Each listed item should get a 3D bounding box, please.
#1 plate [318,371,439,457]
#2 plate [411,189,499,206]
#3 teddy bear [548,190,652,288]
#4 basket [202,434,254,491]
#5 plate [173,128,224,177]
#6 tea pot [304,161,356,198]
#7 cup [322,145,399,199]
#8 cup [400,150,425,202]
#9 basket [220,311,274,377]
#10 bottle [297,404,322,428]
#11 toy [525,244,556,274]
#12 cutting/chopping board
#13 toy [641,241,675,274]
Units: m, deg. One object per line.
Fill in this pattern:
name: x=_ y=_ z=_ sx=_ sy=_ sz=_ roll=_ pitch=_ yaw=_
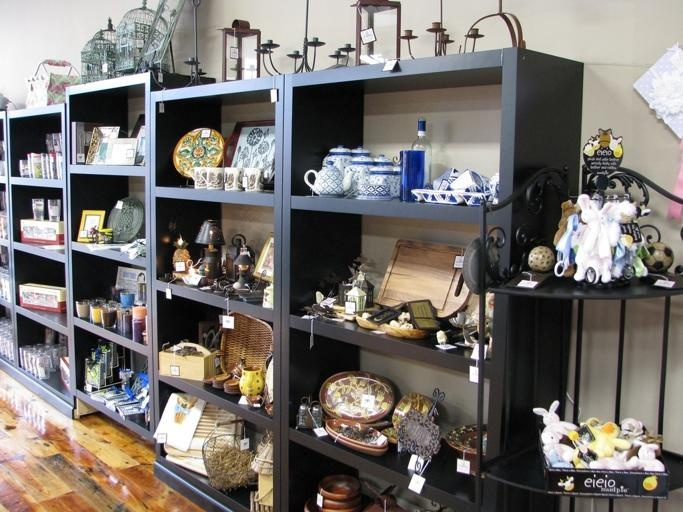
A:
plate: x=0.136 y=0.703 z=2.597 sx=0.416 sy=0.264 sz=0.457 roll=1 pitch=5 yaw=-33
plate: x=0.405 y=-0.229 z=2.171 sx=0.100 sy=0.059 sz=0.330 roll=-1 pitch=6 yaw=-44
teddy bear: x=0.897 y=-0.055 z=1.891 sx=0.317 sy=0.294 sz=0.234 roll=4 pitch=4 yaw=15
basket: x=-0.611 y=1.073 z=2.929 sx=0.292 sy=0.152 sz=0.310 roll=18 pitch=6 yaw=32
plate: x=-0.802 y=-0.586 z=3.129 sx=0.266 sy=0.290 sz=0.056 roll=2 pitch=-7 yaw=20
tea pot: x=-0.053 y=-0.337 z=2.475 sx=0.224 sy=0.151 sz=0.153 roll=1 pitch=8 yaw=13
cup: x=0.079 y=-0.368 z=2.396 sx=0.316 sy=0.142 sz=0.186 roll=14 pitch=18 yaw=41
cup: x=0.294 y=-0.332 z=2.289 sx=0.107 sy=0.212 sz=0.086 roll=3 pitch=4 yaw=8
basket: x=-0.551 y=0.531 z=3.169 sx=0.304 sy=0.081 sz=0.419 roll=13 pitch=45 yaw=-10
bottle: x=-0.148 y=0.746 z=2.644 sx=0.124 sy=0.126 sz=0.092 roll=0 pitch=-4 yaw=2
toy: x=0.707 y=0.012 z=2.006 sx=0.081 sy=0.097 sz=0.100 roll=19 pitch=-8 yaw=-19
cutting/chopping board: x=0.349 y=0.060 z=2.559 sx=0.403 sy=0.443 sz=0.091 roll=14 pitch=39 yaw=-19
toy: x=1.108 y=0.007 z=1.953 sx=0.102 sy=0.126 sz=0.104 roll=-3 pitch=-10 yaw=30
